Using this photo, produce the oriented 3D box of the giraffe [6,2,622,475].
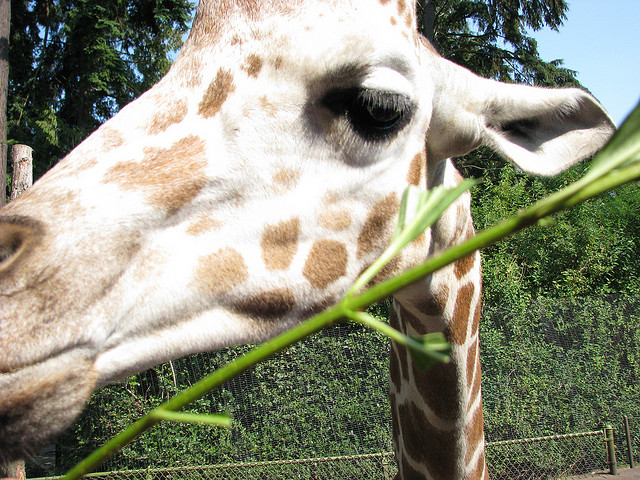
[{"bbox_3d":[-0.217,0.113,5.472,4.201,4.055,1.670,1,14,-23],"label":"giraffe"}]
